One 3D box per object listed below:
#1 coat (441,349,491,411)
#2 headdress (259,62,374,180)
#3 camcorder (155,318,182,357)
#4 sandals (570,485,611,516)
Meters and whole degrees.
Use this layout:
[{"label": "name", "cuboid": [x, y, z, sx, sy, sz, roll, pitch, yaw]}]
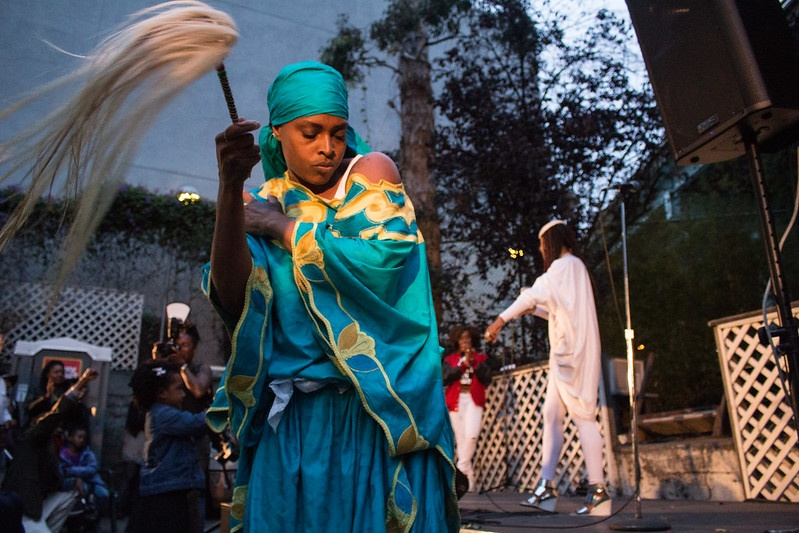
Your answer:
[{"label": "coat", "cuboid": [0.813, 1.393, 8.429, 0.560, 0.759, 0.455, -2, -9, 3]}, {"label": "headdress", "cuboid": [-0.410, -0.709, 3.369, 0.537, 0.630, 0.427, -9, 22, -12]}, {"label": "camcorder", "cuboid": [-2.389, 0.786, 7.295, 0.282, 0.481, 0.293, 4, -5, -30]}, {"label": "sandals", "cuboid": [1.478, 1.812, 5.363, 0.324, 0.247, 0.165, -2, -12, 21]}]
